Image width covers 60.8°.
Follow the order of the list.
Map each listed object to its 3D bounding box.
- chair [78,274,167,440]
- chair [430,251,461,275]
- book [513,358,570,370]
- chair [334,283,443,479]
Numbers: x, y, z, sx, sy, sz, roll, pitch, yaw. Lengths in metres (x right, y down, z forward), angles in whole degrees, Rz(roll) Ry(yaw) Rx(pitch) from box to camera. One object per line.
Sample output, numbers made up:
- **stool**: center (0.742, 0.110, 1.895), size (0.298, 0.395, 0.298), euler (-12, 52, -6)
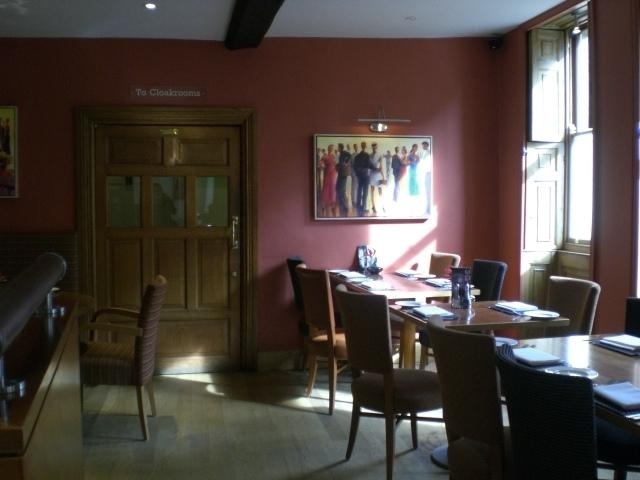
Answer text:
- **chair**: center (-1.682, 0.832, 4.723), size (0.712, 1.208, 1.854), euler (-2, 6, -24)
- **chair**: center (1.278, 0.235, 5.588), size (0.268, 0.373, 0.314), euler (3, 3, 13)
- **book**: center (1.076, 0.603, 2.655), size (0.125, 0.018, 0.116), euler (0, 0, -27)
- **chair**: center (0.435, 0.908, 3.543), size (0.684, 1.178, 0.530), euler (1, 5, 13)
